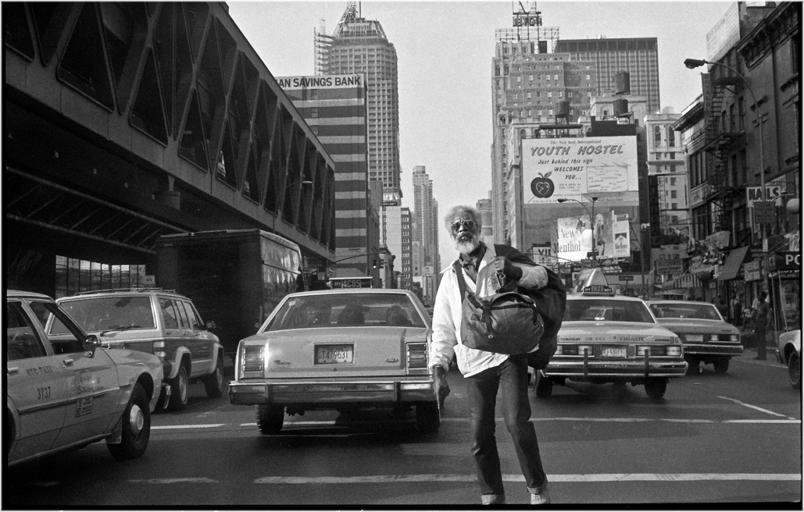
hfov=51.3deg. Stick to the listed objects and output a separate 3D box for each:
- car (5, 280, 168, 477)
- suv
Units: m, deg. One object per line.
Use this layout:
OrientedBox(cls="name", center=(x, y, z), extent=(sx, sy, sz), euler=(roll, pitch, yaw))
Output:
OrientedBox(cls="car", center=(-4.944, 1.839, 12.588), extent=(1.571, 1.402, 3.022), euler=(-4, -2, 31))
OrientedBox(cls="suv", center=(-5.948, 2.196, 18.908), extent=(2.912, 2.493, 5.392), euler=(-4, -5, 0))
